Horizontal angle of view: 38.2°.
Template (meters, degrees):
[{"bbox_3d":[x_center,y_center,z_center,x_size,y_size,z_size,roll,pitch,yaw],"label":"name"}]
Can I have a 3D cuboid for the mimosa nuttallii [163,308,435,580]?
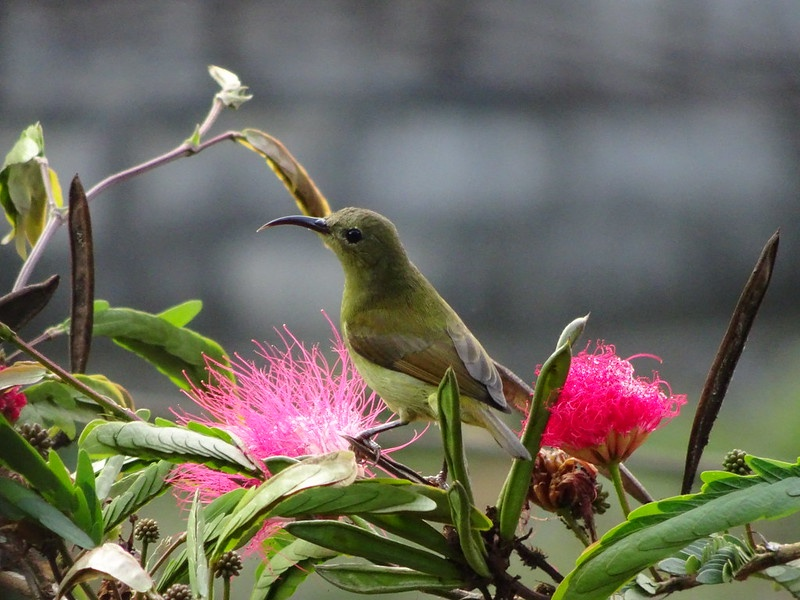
[{"bbox_3d":[-0.197,0.207,1.618,0.377,0.264,0.379,-10,-5,9],"label":"mimosa nuttallii"}]

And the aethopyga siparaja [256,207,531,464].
[{"bbox_3d":[0.019,0.041,1.612,0.342,0.314,0.148,5,7,10],"label":"aethopyga siparaja"}]
